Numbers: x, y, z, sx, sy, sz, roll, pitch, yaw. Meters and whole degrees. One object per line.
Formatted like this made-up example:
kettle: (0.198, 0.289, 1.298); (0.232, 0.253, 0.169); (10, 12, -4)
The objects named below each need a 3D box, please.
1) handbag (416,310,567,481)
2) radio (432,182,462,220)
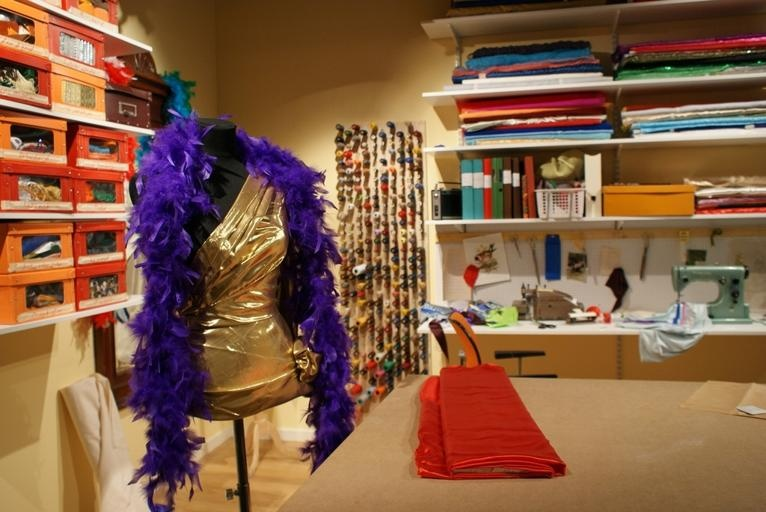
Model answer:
handbag: (0.545, 0.640, 2.820); (0.469, 0.256, 0.727); (-2, 11, -1)
radio: (0.414, -0.350, 4.127); (0.269, 0.228, 0.211); (-2, 2, -28)
